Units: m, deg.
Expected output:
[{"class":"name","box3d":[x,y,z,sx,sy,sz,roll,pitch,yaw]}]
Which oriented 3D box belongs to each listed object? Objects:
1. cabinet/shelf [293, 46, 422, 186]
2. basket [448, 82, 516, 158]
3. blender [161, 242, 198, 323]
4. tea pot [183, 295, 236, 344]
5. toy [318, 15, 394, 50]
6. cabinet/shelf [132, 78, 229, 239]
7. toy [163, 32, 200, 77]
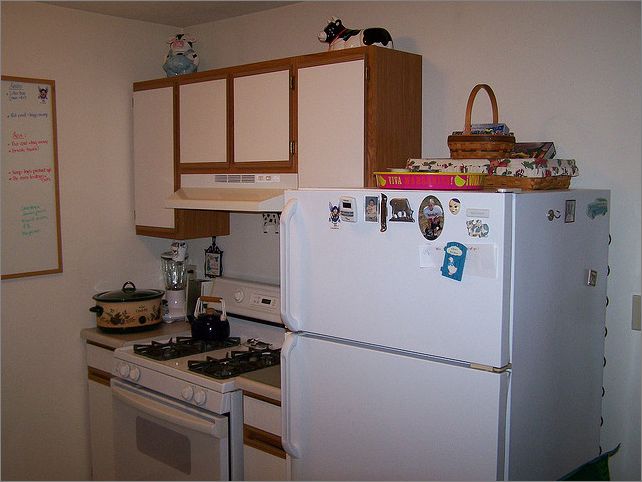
[{"class":"cabinet/shelf","box3d":[0.155,-0.580,2.576,0.421,0.714,0.655,-5,13,-37]},{"class":"basket","box3d":[0.675,-0.491,2.021,0.260,0.312,0.192,-7,11,-36]},{"class":"blender","box3d":[-1.039,0.273,3.525,0.243,0.571,0.193,9,15,43]},{"class":"tea pot","box3d":[-0.691,0.493,3.165,0.287,0.316,0.268,0,4,0]},{"class":"toy","box3d":[0.178,-1.058,2.525,0.375,0.194,0.202,7,12,42]},{"class":"cabinet/shelf","box3d":[-0.943,-0.485,3.569,0.622,1.254,0.494,2,3,34]},{"class":"toy","box3d":[-0.926,-1.222,3.344,0.225,0.312,0.229,11,16,30]}]
